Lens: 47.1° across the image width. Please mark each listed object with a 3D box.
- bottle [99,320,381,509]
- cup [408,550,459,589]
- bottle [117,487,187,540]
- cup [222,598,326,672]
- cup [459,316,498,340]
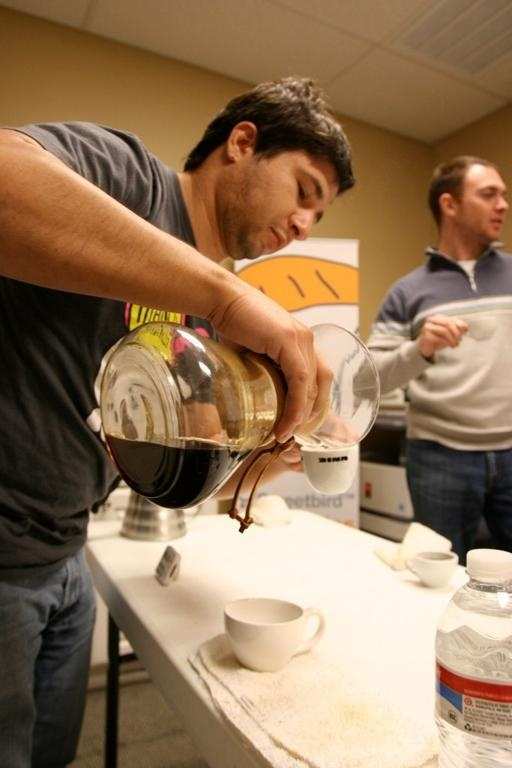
[{"bbox_3d":[0.004,0.042,0.686,0.154,0.188,0.371,-2,0,35],"label":"bottle"},{"bbox_3d":[0.308,0.314,1.010,0.066,0.044,0.059,-7,-4,34],"label":"cup"},{"bbox_3d":[-0.242,0.323,1.397,0.134,0.135,0.133,2,4,7],"label":"bottle"},{"bbox_3d":[0.027,0.317,0.740,0.130,0.066,0.100,2,-4,-10],"label":"cup"},{"bbox_3d":[0.596,-0.145,1.563,0.085,0.066,0.043,-2,0,21],"label":"cup"}]
